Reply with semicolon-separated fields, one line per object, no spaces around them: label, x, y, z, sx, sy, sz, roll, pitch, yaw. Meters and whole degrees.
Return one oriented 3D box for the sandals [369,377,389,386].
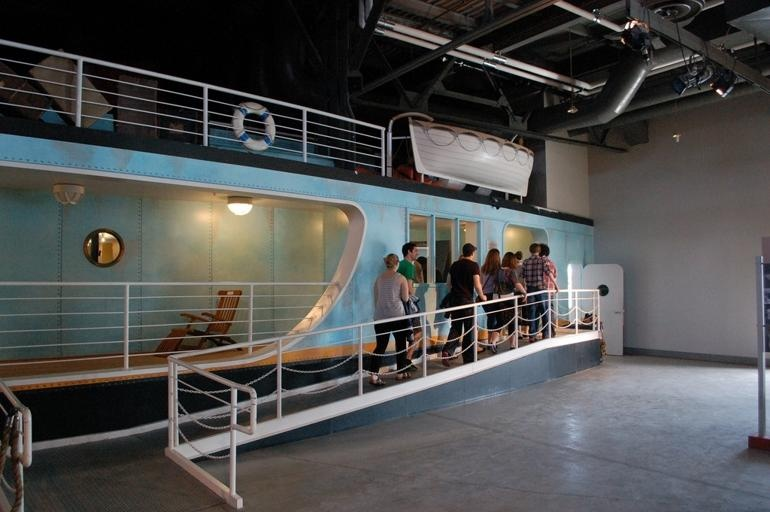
sandals;-0.108;2.107;8.927;0.307;0.217;0.115;-1;2;-37

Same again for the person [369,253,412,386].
person;0.105;1.076;8.825;0.651;2.205;0.801;1;5;1

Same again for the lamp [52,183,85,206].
lamp;-4.898;-0.970;8.141;0.380;0.246;0.385;-2;0;12

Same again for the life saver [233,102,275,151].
life saver;-2.342;-2.323;9.261;0.720;0.900;0.621;-1;5;-24

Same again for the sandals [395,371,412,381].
sandals;0.342;2.082;9.066;0.134;0.097;0.245;2;5;36

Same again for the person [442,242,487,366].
person;1.455;0.913;9.658;0.742;2.261;0.702;1;5;10

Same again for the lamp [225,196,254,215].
lamp;-2.577;-0.894;9.245;0.376;0.243;0.371;-1;-1;-38

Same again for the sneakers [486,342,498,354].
sneakers;2.112;1.846;10.309;0.121;0.155;0.397;-10;-16;1

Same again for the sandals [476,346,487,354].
sandals;1.957;1.891;10.526;0.093;0.130;0.309;-3;-8;-4

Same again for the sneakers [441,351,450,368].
sneakers;1.120;1.900;9.697;0.135;0.373;0.147;-5;26;13
